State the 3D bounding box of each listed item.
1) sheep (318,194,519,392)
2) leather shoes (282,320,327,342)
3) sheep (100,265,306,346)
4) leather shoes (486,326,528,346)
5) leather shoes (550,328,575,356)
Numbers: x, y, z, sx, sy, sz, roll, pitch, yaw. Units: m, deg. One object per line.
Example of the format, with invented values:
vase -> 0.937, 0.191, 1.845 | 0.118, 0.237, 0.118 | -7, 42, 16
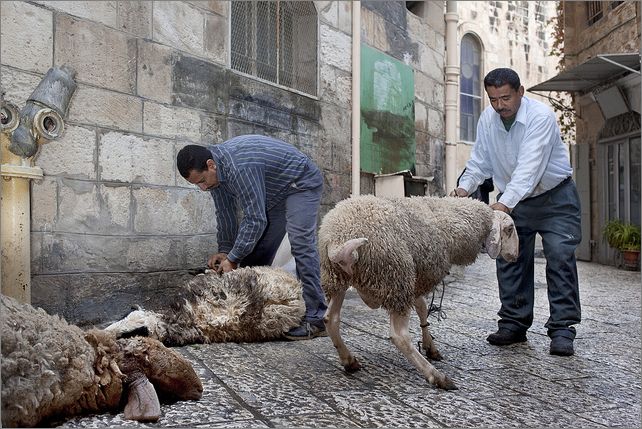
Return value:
sheep -> 0.801, 0.602, 4.205 | 1.556, 1.445, 0.732 | -1, 9, -26
leather shoes -> -0.155, 1.170, 5.116 | 0.420, 0.183, 0.161 | 5, -5, -25
sheep -> -1.025, 0.835, 4.950 | 1.550, 0.742, 0.613 | -6, 6, -20
leather shoes -> 1.835, 1.213, 5.088 | 0.363, 0.156, 0.156 | 3, -5, -21
leather shoes -> 2.266, 1.197, 4.813 | 0.227, 0.217, 0.275 | 7, 9, 26
